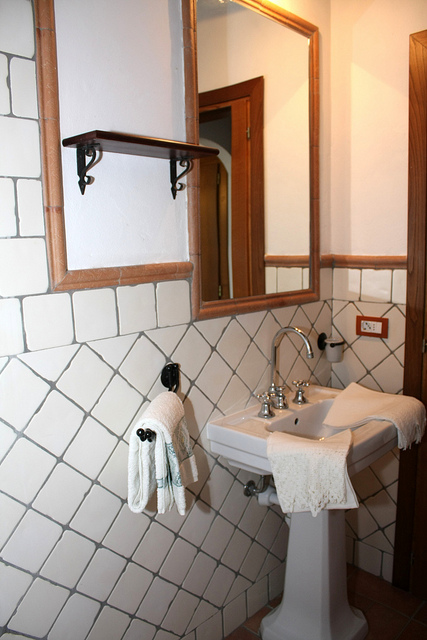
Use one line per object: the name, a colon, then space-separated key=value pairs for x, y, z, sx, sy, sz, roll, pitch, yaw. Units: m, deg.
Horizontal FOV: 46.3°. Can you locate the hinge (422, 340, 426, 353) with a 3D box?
hinge: x=0.737 y=0.095 z=1.745 sx=0.010 sy=0.045 sz=0.005 roll=-4 pitch=12 yaw=-1

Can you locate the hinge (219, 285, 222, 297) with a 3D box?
hinge: x=0.020 y=-0.082 z=1.470 sx=0.005 sy=0.022 sz=0.021 roll=0 pitch=4 yaw=13

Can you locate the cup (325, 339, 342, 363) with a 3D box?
cup: x=0.469 y=0.122 z=1.935 sx=0.065 sy=0.093 sz=0.076 roll=0 pitch=-2 yaw=25

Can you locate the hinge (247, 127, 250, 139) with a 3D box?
hinge: x=0.108 y=-0.574 z=1.533 sx=0.001 sy=0.033 sz=0.015 roll=2 pitch=13 yaw=26
